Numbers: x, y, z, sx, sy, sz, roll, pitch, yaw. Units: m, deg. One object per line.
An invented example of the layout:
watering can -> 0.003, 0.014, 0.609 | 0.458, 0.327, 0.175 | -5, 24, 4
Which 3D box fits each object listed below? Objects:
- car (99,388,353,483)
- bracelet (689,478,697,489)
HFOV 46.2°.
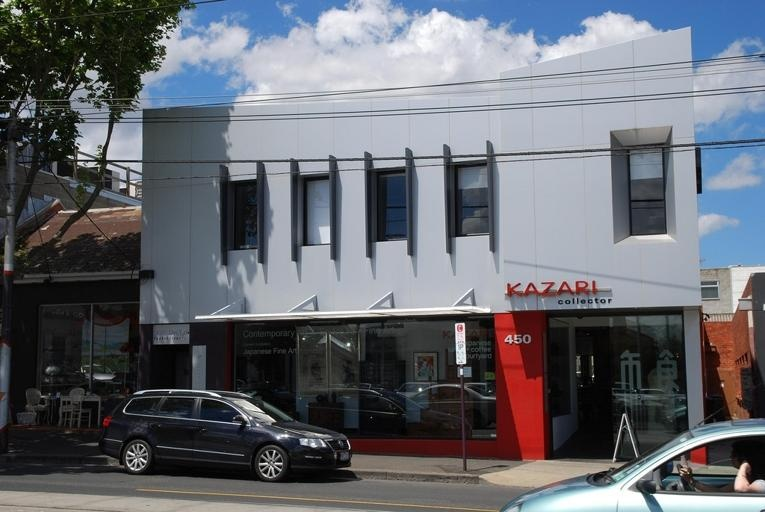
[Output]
car -> -4.369, 5.026, 25.429 | 6.579, 2.176, 2.847 | -2, -11, 12
bracelet -> 5.727, 4.186, 16.536 | 0.050, 0.168, 0.124 | -12, 1, 22
